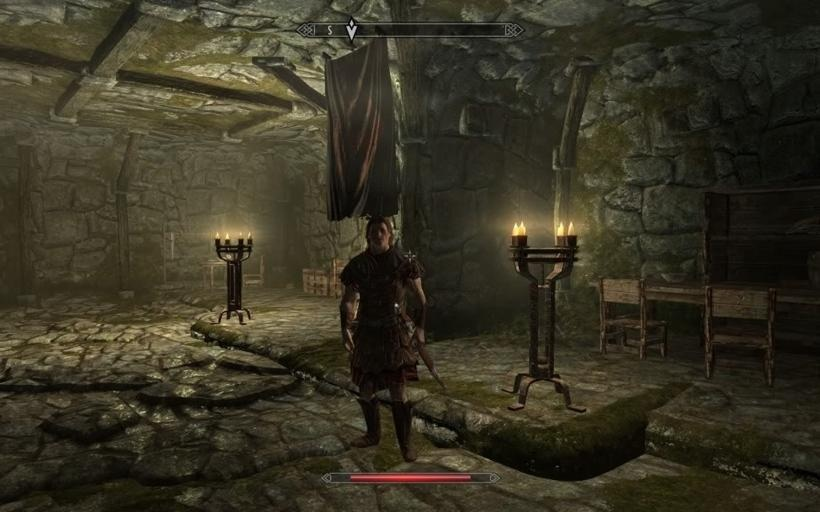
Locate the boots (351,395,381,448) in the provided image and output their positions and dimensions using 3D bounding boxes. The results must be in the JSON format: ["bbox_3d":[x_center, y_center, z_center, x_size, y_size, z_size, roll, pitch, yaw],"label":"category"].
[{"bbox_3d":[-0.501,1.833,5.467,0.311,0.677,0.223,-3,10,-8],"label":"boots"}]

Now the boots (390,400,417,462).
[{"bbox_3d":[-0.078,1.852,5.364,0.226,0.677,0.289,-2,10,-3],"label":"boots"}]
